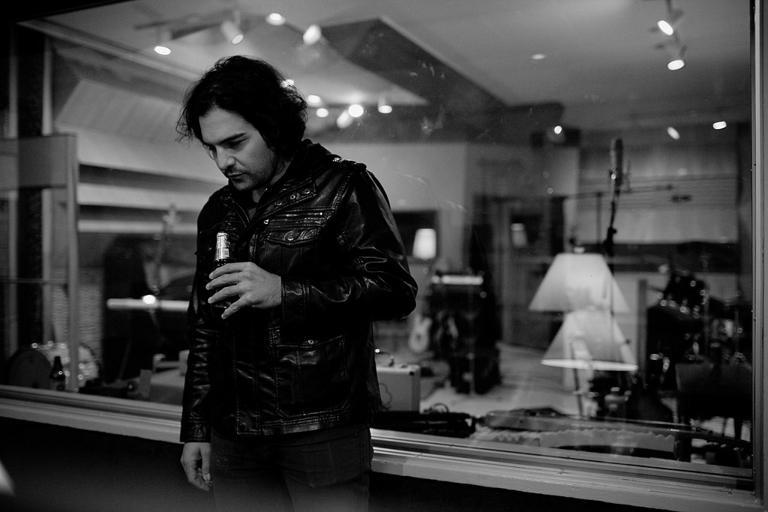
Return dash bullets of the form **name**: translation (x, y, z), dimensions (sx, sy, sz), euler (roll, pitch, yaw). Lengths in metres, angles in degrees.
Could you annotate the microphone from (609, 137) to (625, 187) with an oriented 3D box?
- **microphone**: translation (1.156, -0.450, 3.448), dimensions (0.066, 0.258, 0.062), euler (-7, 23, 22)
